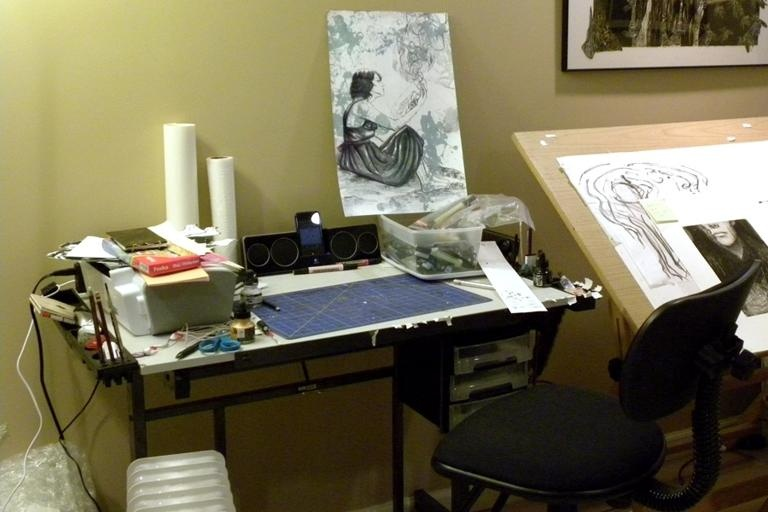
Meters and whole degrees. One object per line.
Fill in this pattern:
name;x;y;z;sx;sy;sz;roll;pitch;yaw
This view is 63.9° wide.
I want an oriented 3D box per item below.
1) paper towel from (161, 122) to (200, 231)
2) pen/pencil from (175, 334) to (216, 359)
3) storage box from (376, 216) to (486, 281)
paper towel;-0.741;-0.296;2.260;0.142;0.356;0.200;-9;22;-14
pen/pencil;-0.552;0.268;1.814;0.028;0.021;0.122;8;31;34
storage box;0.184;0.025;2.429;0.335;0.147;0.253;-1;-16;-46
